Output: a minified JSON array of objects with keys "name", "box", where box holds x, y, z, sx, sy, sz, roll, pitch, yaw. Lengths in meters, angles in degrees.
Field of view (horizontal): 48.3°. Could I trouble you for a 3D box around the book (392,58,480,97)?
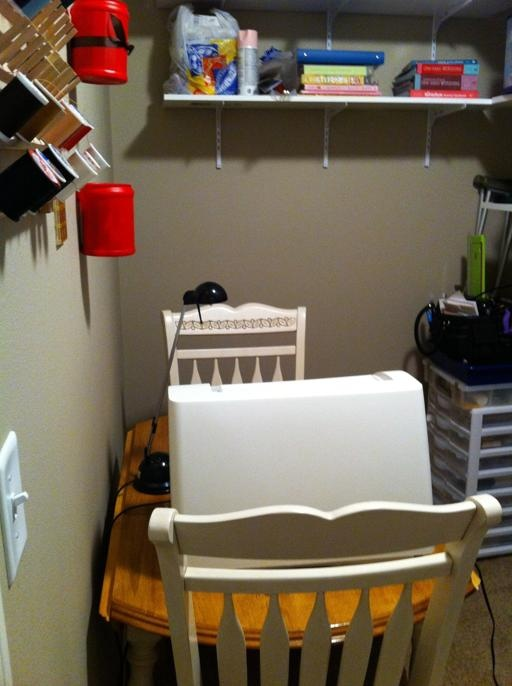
[{"name":"book","box":[0.678,-0.997,2.165,0.320,0.128,0.273,8,23,17]}]
